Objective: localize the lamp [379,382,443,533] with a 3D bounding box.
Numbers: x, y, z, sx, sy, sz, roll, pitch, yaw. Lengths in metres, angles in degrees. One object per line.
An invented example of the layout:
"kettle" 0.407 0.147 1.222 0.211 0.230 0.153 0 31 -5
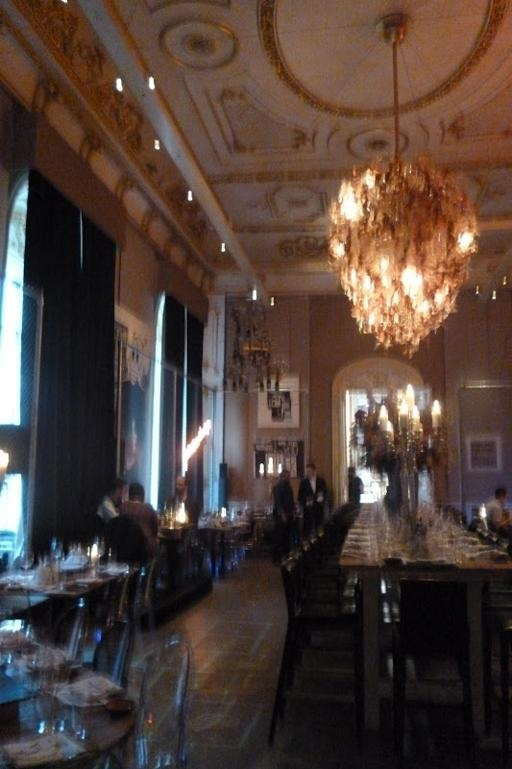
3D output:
"lamp" 1.452 0.787 4.997 0.410 1.350 0.433 2 -4 26

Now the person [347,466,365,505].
"person" 2.429 2.461 13.363 0.368 0.858 1.811 -2 -11 9

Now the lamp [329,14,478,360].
"lamp" 1.668 -2.340 6.418 1.355 4.248 1.552 1 -6 6

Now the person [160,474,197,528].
"person" -1.285 2.107 9.020 0.505 0.389 1.290 14 31 -15

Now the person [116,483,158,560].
"person" -1.396 1.851 6.567 0.406 1.471 0.414 4 19 -2
